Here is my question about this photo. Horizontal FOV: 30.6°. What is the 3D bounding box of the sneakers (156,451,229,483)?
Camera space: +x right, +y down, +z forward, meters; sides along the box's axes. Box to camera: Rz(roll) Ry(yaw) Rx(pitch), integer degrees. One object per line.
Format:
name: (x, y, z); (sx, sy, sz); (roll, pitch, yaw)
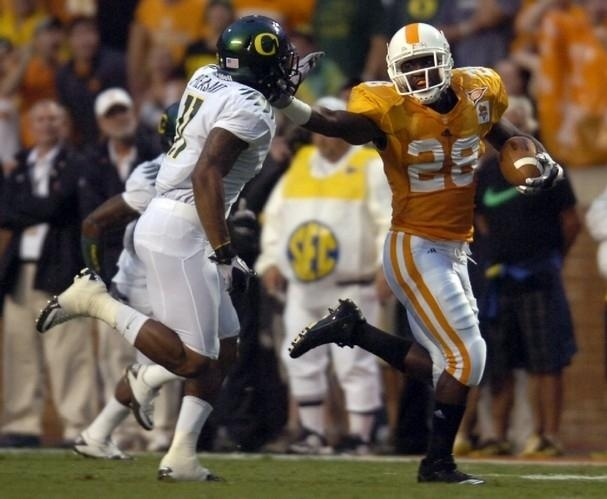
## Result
sneakers: (-0.483, 1.004, 5.142); (0.382, 0.138, 0.116); (2, -5, -20)

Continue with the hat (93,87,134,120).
hat: (-1.280, -0.989, 7.442); (0.259, 0.136, 0.369); (-16, 11, -7)

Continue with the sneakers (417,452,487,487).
sneakers: (0.729, 1.053, 5.227); (0.369, 0.126, 0.116); (-2, -8, 14)

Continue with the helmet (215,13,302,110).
helmet: (-0.212, -0.899, 5.223); (0.467, 0.396, 0.352); (-10, 22, -30)

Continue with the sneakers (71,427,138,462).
sneakers: (-1.014, 0.993, 5.584); (0.342, 0.125, 0.106); (8, 0, -9)

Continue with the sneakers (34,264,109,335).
sneakers: (-1.199, 0.275, 5.434); (0.539, 0.223, 0.179); (-30, -33, 30)

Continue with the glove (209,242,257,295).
glove: (-0.331, 0.085, 5.086); (0.107, 0.153, 0.253); (-35, -40, 5)

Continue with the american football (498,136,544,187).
american football: (1.026, -0.417, 5.340); (0.197, 0.223, 0.183); (-2, -10, -10)

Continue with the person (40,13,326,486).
person: (-0.561, -0.036, 5.327); (0.970, 2.210, 0.535); (0, -4, 39)
